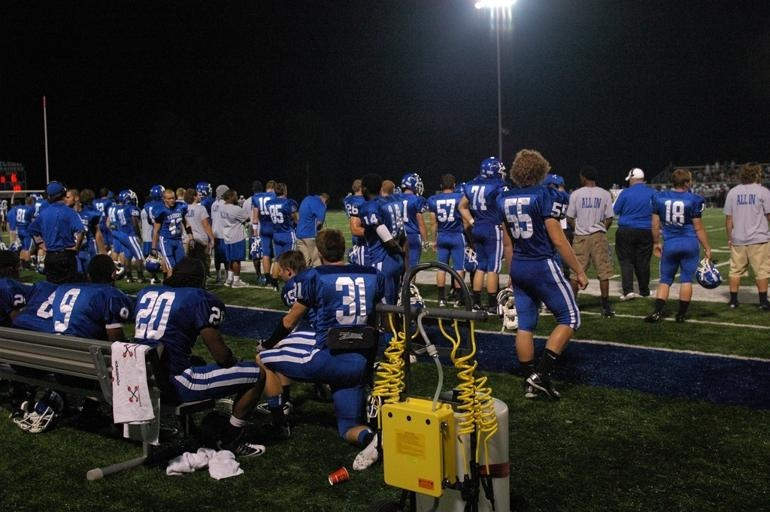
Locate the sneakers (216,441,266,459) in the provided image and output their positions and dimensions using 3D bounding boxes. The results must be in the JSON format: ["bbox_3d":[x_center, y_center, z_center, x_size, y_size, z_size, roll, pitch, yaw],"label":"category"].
[{"bbox_3d":[-1.340,1.787,6.098,0.432,0.165,0.161,0,-2,-5],"label":"sneakers"}]

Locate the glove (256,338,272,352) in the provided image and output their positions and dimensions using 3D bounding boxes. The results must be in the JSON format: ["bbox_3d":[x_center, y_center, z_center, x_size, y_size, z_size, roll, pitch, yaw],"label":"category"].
[{"bbox_3d":[-1.192,0.879,6.401,0.098,0.132,0.340,-1,-1,-27],"label":"glove"}]

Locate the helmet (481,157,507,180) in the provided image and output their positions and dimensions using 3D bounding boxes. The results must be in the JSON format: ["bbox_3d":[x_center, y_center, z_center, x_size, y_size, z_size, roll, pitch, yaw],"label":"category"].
[{"bbox_3d":[1.657,-1.384,10.246,0.395,0.344,0.308,-20,27,-33],"label":"helmet"}]

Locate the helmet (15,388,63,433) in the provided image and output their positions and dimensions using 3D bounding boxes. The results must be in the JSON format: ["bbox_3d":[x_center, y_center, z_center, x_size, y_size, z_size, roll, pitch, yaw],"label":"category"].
[{"bbox_3d":[-3.517,1.597,6.618,0.353,0.222,0.469,31,-38,-17],"label":"helmet"}]

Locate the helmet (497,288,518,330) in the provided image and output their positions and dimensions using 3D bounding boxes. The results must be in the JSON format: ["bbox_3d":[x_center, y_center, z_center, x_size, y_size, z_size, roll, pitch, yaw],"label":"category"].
[{"bbox_3d":[1.488,0.620,7.594,0.361,0.456,0.171,-4,-10,40],"label":"helmet"}]

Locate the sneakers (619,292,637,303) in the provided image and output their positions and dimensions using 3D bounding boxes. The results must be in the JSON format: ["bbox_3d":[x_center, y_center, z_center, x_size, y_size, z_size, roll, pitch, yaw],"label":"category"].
[{"bbox_3d":[4.151,0.700,11.120,0.132,0.139,0.332,3,6,9],"label":"sneakers"}]

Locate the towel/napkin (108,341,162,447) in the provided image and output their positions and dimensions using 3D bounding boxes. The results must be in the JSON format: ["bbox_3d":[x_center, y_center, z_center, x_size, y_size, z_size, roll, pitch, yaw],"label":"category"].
[{"bbox_3d":[-2.202,1.218,5.768,0.390,0.922,0.248,-2,-2,-7],"label":"towel/napkin"}]

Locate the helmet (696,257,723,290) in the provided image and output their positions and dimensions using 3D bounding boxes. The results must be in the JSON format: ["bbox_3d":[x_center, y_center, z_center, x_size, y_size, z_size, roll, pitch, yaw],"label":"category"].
[{"bbox_3d":[4.745,0.247,9.494,0.327,0.351,0.460,-13,29,12],"label":"helmet"}]

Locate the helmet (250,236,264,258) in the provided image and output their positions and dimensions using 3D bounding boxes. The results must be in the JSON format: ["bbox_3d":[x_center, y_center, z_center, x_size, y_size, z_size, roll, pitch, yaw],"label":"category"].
[{"bbox_3d":[-2.640,-0.166,13.463,0.417,0.388,0.308,-3,6,8],"label":"helmet"}]

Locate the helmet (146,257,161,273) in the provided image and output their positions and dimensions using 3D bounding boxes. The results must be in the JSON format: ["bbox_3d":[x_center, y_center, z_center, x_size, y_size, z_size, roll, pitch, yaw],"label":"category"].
[{"bbox_3d":[-4.591,0.163,12.902,0.256,0.262,0.254,-4,-22,-1],"label":"helmet"}]

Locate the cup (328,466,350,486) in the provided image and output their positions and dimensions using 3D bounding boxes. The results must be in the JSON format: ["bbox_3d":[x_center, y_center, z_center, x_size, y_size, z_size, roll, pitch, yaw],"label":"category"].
[{"bbox_3d":[-0.414,1.921,5.761,0.167,0.141,0.150,-8,-29,-20],"label":"cup"}]

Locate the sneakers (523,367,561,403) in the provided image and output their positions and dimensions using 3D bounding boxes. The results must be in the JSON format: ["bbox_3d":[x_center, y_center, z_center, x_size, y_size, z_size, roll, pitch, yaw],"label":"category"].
[{"bbox_3d":[1.645,1.376,6.993,0.540,0.251,0.193,27,7,-23],"label":"sneakers"}]
